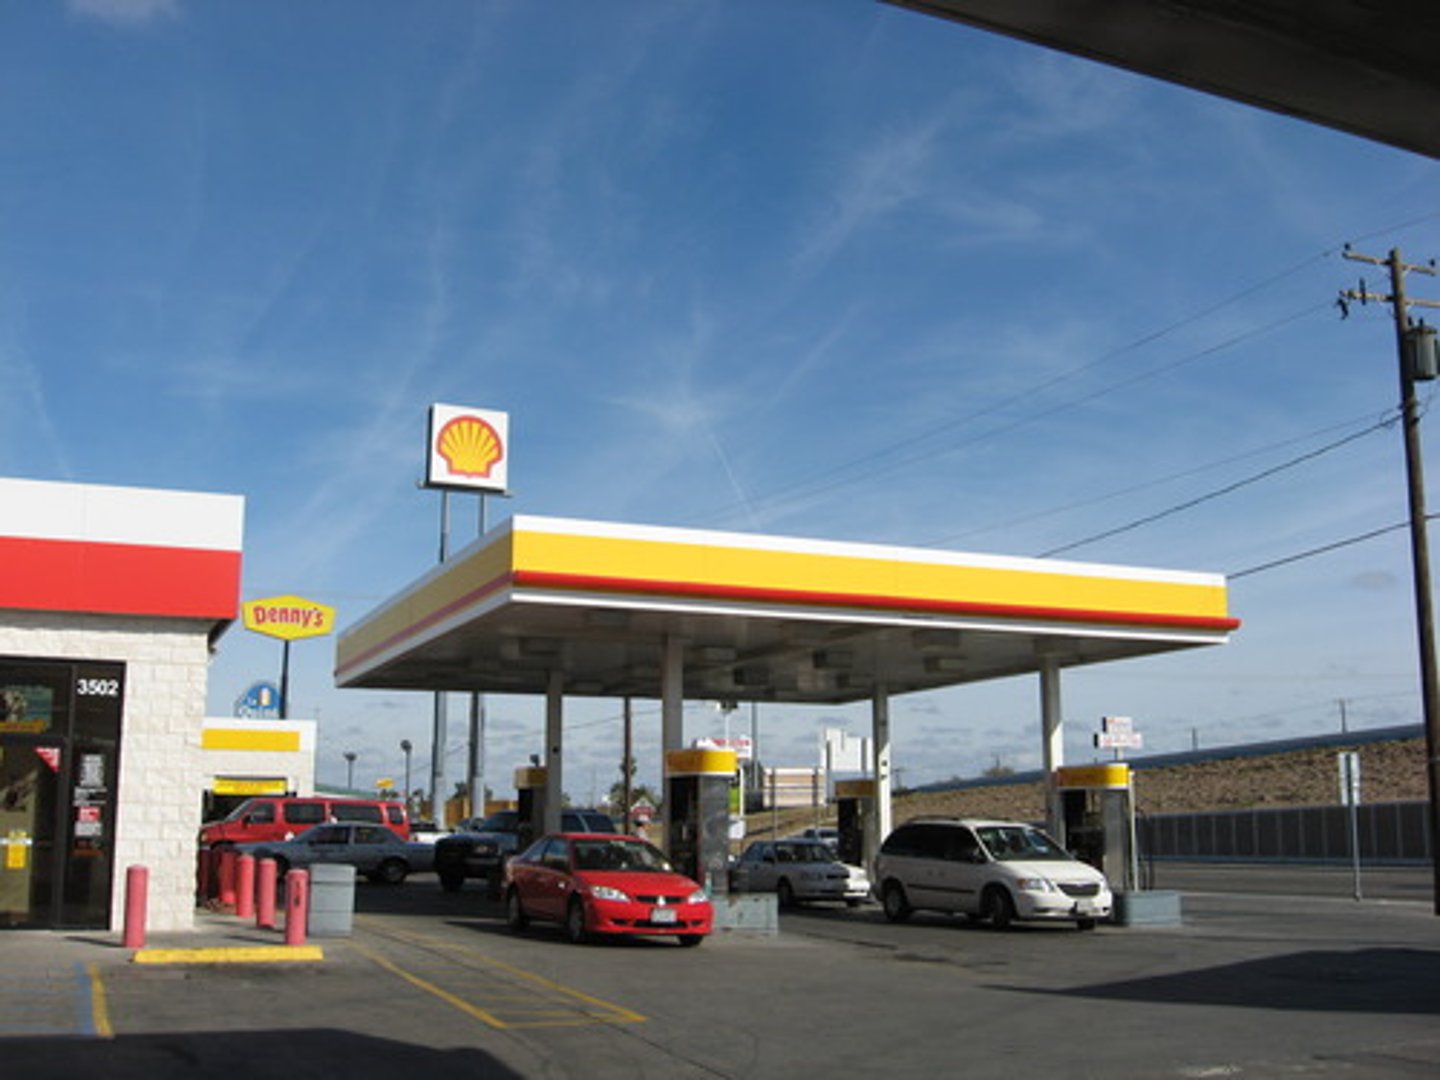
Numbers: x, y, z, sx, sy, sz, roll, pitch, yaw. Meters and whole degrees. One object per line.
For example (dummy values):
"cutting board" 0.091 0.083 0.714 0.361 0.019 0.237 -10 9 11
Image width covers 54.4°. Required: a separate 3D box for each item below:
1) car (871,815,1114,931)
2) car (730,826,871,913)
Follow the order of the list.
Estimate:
"car" 4.864 5.957 25.282 2.138 1.447 3.578 8 -16 -35
"car" 1.636 7.122 30.244 1.557 1.112 3.503 6 -14 -27
